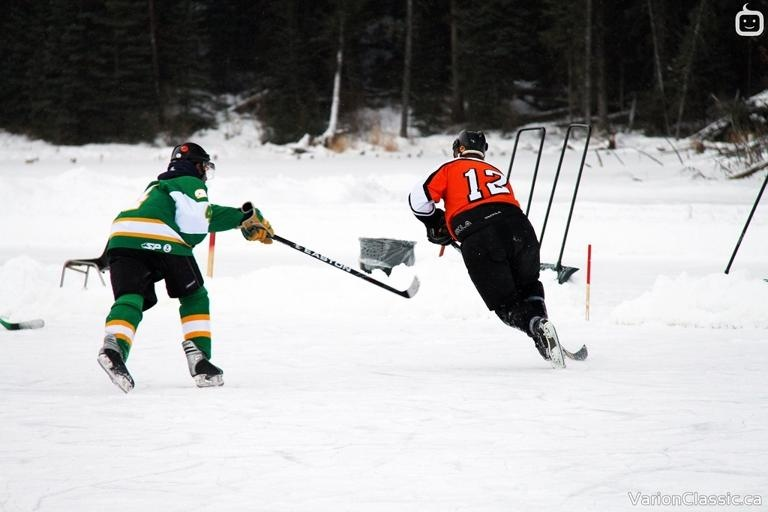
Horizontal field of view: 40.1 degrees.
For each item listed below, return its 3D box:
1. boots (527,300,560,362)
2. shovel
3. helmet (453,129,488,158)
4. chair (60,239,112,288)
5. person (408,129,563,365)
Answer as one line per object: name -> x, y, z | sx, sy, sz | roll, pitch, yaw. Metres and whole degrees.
boots -> 1.551, 0.746, 10.215 | 0.332, 0.568, 0.332 | 4, -1, -8
shovel -> 1.997, -0.535, 12.862 | 0.733, 1.965, 0.992 | 3, 2, -29
helmet -> 0.909, -1.148, 10.849 | 0.288, 0.296, 0.323 | 2, 19, -4
chair -> -3.488, 0.008, 12.263 | 0.597, 0.766, 0.485 | 3, 8, -19
person -> 1.004, -0.066, 10.610 | 1.087, 2.652, 1.199 | -14, -12, -1
